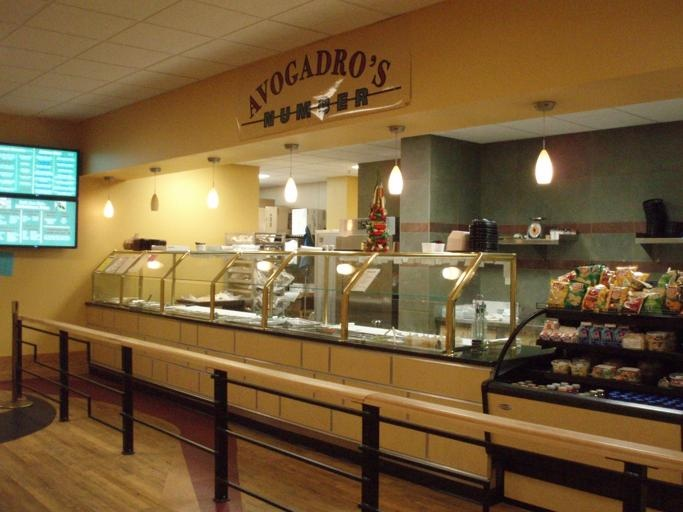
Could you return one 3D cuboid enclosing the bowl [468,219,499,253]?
[{"bbox_3d":[1.279,-0.186,5.008,0.220,0.291,0.378,1,-1,27],"label":"bowl"}]

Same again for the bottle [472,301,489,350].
[{"bbox_3d":[1.087,0.527,4.355,0.141,0.370,0.106,2,-2,-9],"label":"bottle"}]
